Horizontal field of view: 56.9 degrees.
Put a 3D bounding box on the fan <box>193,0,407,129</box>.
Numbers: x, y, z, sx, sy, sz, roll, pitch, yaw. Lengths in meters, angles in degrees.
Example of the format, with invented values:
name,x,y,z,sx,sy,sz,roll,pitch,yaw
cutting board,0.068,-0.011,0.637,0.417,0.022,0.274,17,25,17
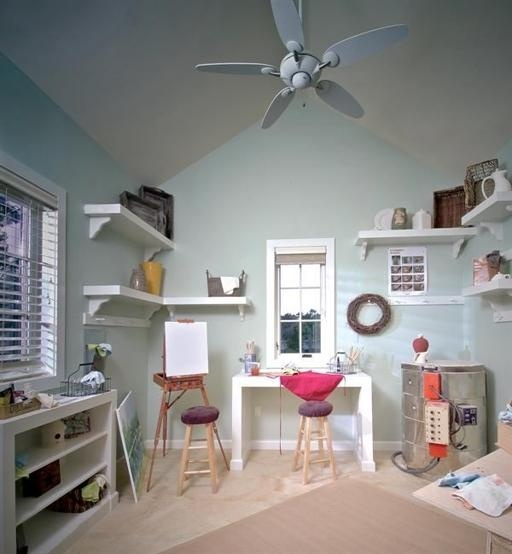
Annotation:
name,x,y,z,sx,sy,sz,roll,pitch,yaw
fan,0.228,-1.340,2.636,0.987,0.745,0.825,0,-3,-8

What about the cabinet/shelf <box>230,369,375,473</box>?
name,x,y,z,sx,sy,sz,roll,pitch,yaw
cabinet/shelf,0.388,1.217,4.198,1.088,0.813,0.706,1,2,4

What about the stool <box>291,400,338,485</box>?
name,x,y,z,sx,sy,sz,roll,pitch,yaw
stool,0.465,1.279,3.738,0.278,0.587,0.332,0,-1,-2

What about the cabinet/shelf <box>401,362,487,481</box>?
name,x,y,z,sx,sy,sz,roll,pitch,yaw
cabinet/shelf,1.439,1.080,3.954,0.699,1.247,0.796,0,-3,13

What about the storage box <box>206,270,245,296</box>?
name,x,y,z,sx,sy,sz,roll,pitch,yaw
storage box,-0.292,0.069,4.505,0.269,0.219,0.228,-2,-9,8

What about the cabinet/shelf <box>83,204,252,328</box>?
name,x,y,z,sx,sy,sz,roll,pitch,yaw
cabinet/shelf,-0.857,-0.029,3.977,1.034,0.827,1.281,-1,-7,5

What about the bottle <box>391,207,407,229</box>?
name,x,y,z,sx,sy,sz,roll,pitch,yaw
bottle,1.293,-0.533,4.300,0.125,0.197,0.182,1,-13,3

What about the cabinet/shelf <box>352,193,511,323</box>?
name,x,y,z,sx,sy,sz,roll,pitch,yaw
cabinet/shelf,1.417,-0.121,4.034,1.107,0.974,0.954,-1,-3,12

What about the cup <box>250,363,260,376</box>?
name,x,y,z,sx,sy,sz,roll,pitch,yaw
cup,-0.015,0.806,4.158,0.071,0.084,0.081,0,-13,-2

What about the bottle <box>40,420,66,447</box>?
name,x,y,z,sx,sy,sz,roll,pitch,yaw
bottle,-1.213,0.917,2.830,0.124,0.157,0.139,3,-7,-43

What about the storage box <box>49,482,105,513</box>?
name,x,y,z,sx,sy,sz,roll,pitch,yaw
storage box,-1.111,1.357,2.977,0.146,0.085,0.215,-2,0,28
